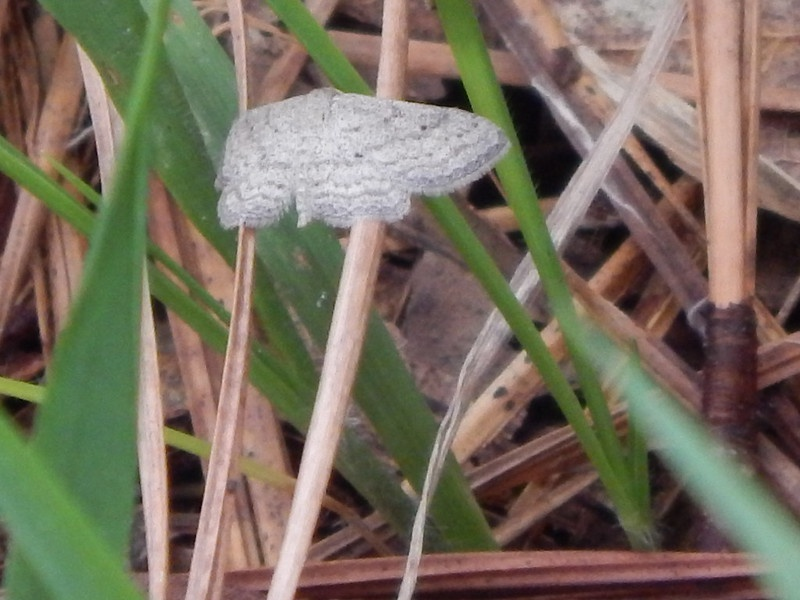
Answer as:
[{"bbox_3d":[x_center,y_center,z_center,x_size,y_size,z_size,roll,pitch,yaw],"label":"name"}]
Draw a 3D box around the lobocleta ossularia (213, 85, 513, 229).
[{"bbox_3d":[0.019,-0.133,1.149,0.152,0.041,0.290,-45,22,-13],"label":"lobocleta ossularia"}]
